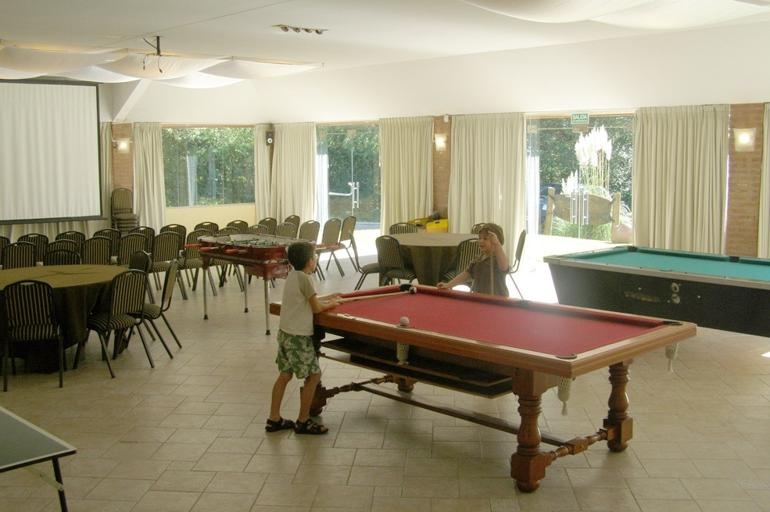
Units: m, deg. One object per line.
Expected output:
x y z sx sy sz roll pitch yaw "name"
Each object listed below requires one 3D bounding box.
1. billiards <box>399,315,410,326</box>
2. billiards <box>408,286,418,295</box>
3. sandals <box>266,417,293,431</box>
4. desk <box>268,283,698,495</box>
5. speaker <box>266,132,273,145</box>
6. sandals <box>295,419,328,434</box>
0.148 0.504 4.360 0.075 0.053 0.071 2 12 8 "billiards"
0.267 0.326 5.324 0.059 0.057 0.069 -2 -7 25 "billiards"
-0.903 1.464 4.900 0.241 0.091 0.106 -4 5 -28 "sandals"
0.854 1.003 4.616 2.632 1.135 1.232 7 15 31 "desk"
-2.880 -2.940 14.095 0.186 0.296 0.101 -5 15 -16 "speaker"
-0.636 1.469 4.847 0.278 0.106 0.121 0 4 0 "sandals"
